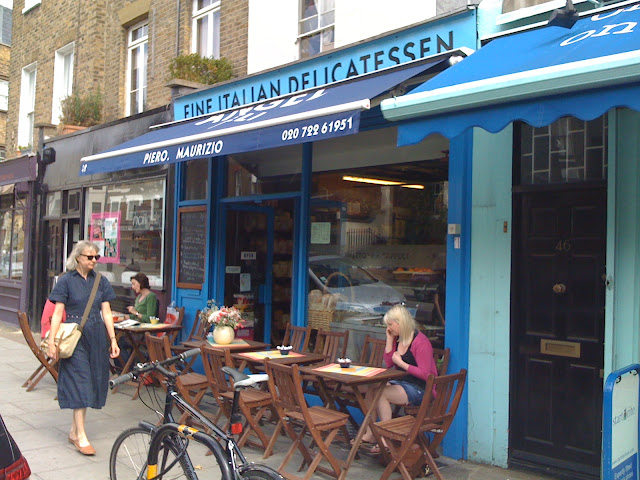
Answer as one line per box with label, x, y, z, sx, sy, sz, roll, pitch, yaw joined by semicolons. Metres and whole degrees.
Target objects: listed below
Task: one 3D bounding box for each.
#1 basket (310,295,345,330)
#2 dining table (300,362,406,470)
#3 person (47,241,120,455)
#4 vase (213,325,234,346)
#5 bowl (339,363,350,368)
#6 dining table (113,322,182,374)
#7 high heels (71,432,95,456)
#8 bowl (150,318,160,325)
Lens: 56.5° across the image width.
basket;0.046;0.992;8.386;0.427;0.289;0.446;1;2;17
dining table;0.259;2.069;6.533;0.931;1.164;1.295;-1;0;-33
person;-2.672;1.198;6.736;0.725;2.373;0.433;1;-1;-23
vase;-1.267;1.251;7.859;0.231;0.206;0.239;1;9;-20
bowl;0.269;1.370;6.505;0.067;0.031;0.067;2;-4;0
dining table;-2.682;1.466;9.349;0.875;0.801;1.008;-1;1;-34
high heels;-2.683;2.319;6.708;0.133;0.117;0.430;5;12;-45
bowl;-2.629;1.285;9.435;0.098;0.077;0.104;4;-6;0
